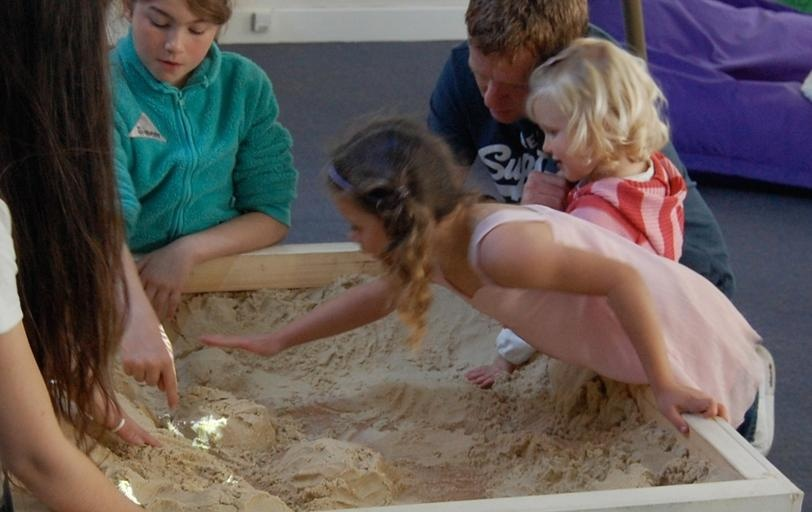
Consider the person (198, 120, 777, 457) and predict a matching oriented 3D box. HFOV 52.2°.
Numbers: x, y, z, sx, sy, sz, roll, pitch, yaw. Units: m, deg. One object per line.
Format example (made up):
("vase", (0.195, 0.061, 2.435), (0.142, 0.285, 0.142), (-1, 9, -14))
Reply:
("person", (0.324, 0.076, 2.551), (1.482, 0.691, 1.020), (12, 3, -2))
